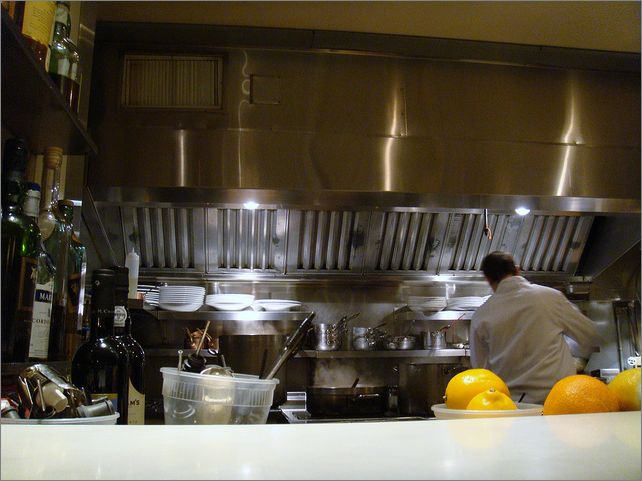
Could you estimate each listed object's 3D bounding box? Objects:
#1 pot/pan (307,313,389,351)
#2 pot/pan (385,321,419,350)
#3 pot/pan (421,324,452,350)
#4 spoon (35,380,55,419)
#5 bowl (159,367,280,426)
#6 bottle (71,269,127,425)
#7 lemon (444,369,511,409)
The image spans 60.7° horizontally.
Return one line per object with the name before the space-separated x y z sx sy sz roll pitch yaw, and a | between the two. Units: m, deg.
pot/pan | 0.095 0.575 3.384 0.204 0.215 0.513 4 -11 -14
pot/pan | 0.454 0.593 3.365 0.123 0.129 0.177 6 -11 -24
pot/pan | 0.718 0.624 3.425 0.178 0.138 0.105 -3 -11 8
spoon | -0.392 0.224 0.770 0.008 0.046 0.028 2 -4 -45
bowl | -0.150 0.299 0.928 0.129 0.082 0.153 -10 -25 15
bottle | -0.390 0.193 0.982 0.084 0.277 0.085 0 -3 0
lemon | 0.250 0.257 0.897 0.096 0.087 0.083 -11 -10 10
